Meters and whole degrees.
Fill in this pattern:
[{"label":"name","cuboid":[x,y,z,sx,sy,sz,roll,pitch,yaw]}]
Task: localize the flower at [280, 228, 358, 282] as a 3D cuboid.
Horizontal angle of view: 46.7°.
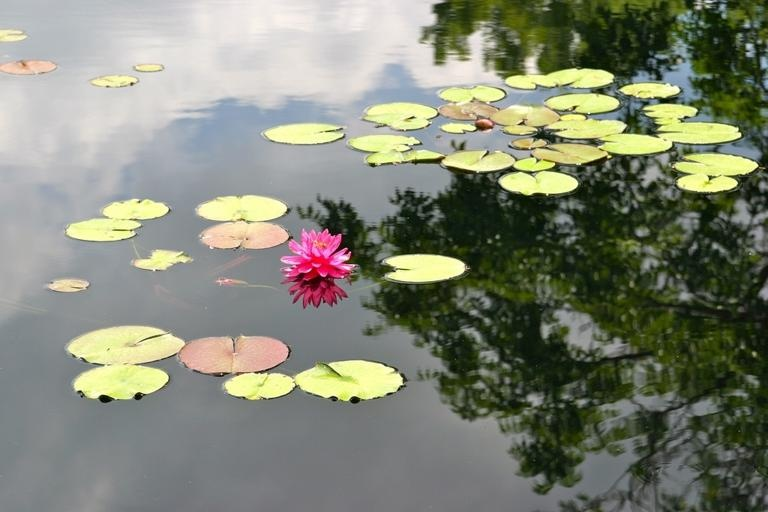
[{"label":"flower","cuboid":[-0.574,-0.026,8.086,0.731,0.624,0.224,-8,75,18]}]
